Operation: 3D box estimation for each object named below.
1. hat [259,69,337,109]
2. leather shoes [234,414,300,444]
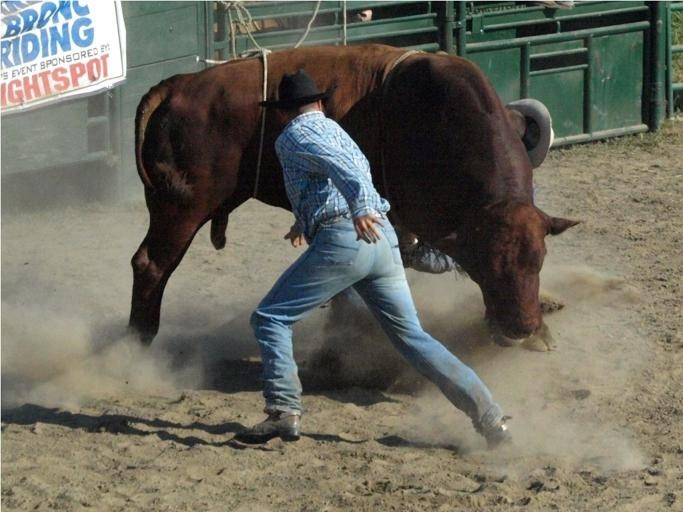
[{"bbox_3d":[-0.248,-0.999,6.508,0.326,0.145,0.281,-19,11,-33],"label":"hat"},{"bbox_3d":[-0.426,1.078,6.552,0.438,0.244,0.157,0,-5,11],"label":"leather shoes"}]
